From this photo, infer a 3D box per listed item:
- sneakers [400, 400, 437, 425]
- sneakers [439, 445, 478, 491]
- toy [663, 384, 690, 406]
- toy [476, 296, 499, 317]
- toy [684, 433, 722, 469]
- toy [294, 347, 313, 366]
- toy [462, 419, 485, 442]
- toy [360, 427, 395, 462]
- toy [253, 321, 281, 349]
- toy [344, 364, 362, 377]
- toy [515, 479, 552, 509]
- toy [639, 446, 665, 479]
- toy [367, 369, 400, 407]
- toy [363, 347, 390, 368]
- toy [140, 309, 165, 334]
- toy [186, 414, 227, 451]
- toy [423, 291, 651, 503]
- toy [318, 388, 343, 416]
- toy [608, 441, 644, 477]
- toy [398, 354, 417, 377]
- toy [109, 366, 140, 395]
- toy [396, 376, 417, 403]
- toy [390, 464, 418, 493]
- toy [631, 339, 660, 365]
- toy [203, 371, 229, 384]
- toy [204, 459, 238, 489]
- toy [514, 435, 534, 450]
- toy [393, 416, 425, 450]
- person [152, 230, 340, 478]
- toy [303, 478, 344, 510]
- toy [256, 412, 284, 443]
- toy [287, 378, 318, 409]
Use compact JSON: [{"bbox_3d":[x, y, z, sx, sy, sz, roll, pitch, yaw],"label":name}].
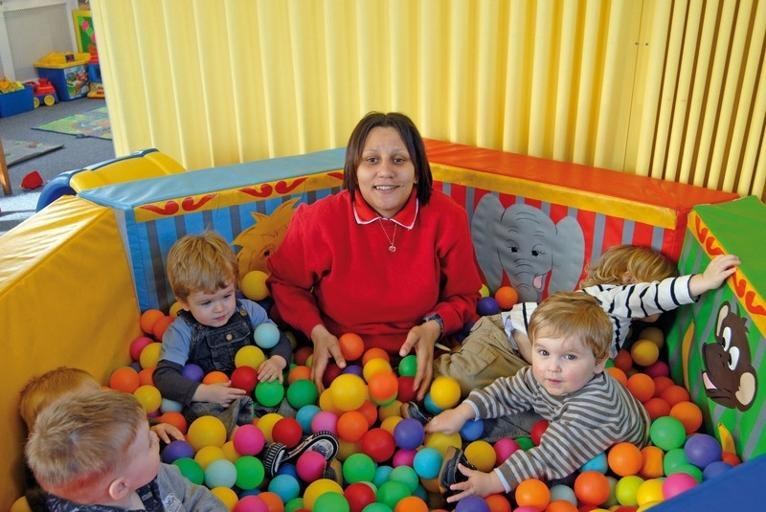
[{"bbox_3d":[0.125,0.573,2.004,0.142,0.057,0.056,32,16,1],"label":"sneakers"},{"bbox_3d":[0.253,0.687,1.755,0.051,0.156,0.099,13,-13,16],"label":"sneakers"},{"bbox_3d":[1.081,0.515,1.974,0.069,0.080,0.067,23,52,-18],"label":"toy"},{"bbox_3d":[0.479,0.238,2.500,0.081,0.084,0.098,8,-6,36],"label":"toy"},{"bbox_3d":[1.020,0.620,1.703,0.098,0.097,0.116,19,-21,14],"label":"toy"},{"bbox_3d":[-0.344,0.448,2.311,0.072,0.085,0.070,8,27,5],"label":"toy"},{"bbox_3d":[0.325,0.624,1.968,0.080,0.079,0.093,-5,10,-10],"label":"toy"},{"bbox_3d":[-0.013,0.670,1.950,0.116,0.136,0.112,-8,48,12],"label":"toy"},{"bbox_3d":[-0.473,0.321,2.219,0.103,0.119,0.099,-16,52,-12],"label":"toy"},{"bbox_3d":[-0.130,0.457,2.127,0.045,0.046,0.054,6,-13,2],"label":"toy"},{"bbox_3d":[0.463,0.730,1.666,0.100,0.087,0.086,21,13,18],"label":"toy"},{"bbox_3d":[0.902,0.695,1.792,0.066,0.075,0.051,-38,43,-12],"label":"toy"},{"bbox_3d":[-0.008,0.487,2.013,0.118,0.137,0.113,6,53,0],"label":"toy"},{"bbox_3d":[-0.028,0.395,2.135,0.078,0.089,0.078,15,-14,3],"label":"toy"},{"bbox_3d":[-0.961,0.273,2.209,0.059,0.070,0.061,37,-2,32],"label":"toy"},{"bbox_3d":[-0.617,0.616,1.856,0.126,0.109,0.108,3,3,8],"label":"toy"},{"bbox_3d":[0.516,0.447,1.800,0.784,0.599,0.343,-11,24,-19],"label":"toy"},{"bbox_3d":[-0.209,0.549,1.999,0.098,0.115,0.097,0,7,6],"label":"toy"},{"bbox_3d":[0.797,0.670,1.813,0.110,0.107,0.128,9,-14,11],"label":"toy"},{"bbox_3d":[0.096,0.439,2.114,0.072,0.068,0.090,-3,22,-2],"label":"toy"},{"bbox_3d":[-0.955,0.457,1.966,0.113,0.115,0.134,3,-9,-43],"label":"toy"},{"bbox_3d":[0.108,0.525,2.101,0.083,0.082,0.100,3,-24,9],"label":"toy"},{"bbox_3d":[0.074,0.741,1.799,0.085,0.085,0.101,-24,0,2],"label":"toy"},{"bbox_3d":[1.051,0.390,2.143,0.100,0.098,0.117,-23,-18,14],"label":"toy"},{"bbox_3d":[-0.638,0.463,2.022,0.066,0.056,0.056,-12,-6,-46],"label":"toy"},{"bbox_3d":[-0.533,0.709,1.785,0.103,0.089,0.089,0,-14,35],"label":"toy"},{"bbox_3d":[0.508,0.663,1.896,0.037,0.043,0.036,-3,-6,-8],"label":"toy"},{"bbox_3d":[0.089,0.623,1.919,0.105,0.100,0.122,22,-21,16],"label":"toy"},{"bbox_3d":[-0.531,0.343,1.976,0.506,0.704,0.868,-13,20,-34],"label":"person"},{"bbox_3d":[-0.191,0.749,1.722,0.113,0.097,0.098,6,3,12],"label":"toy"},{"bbox_3d":[-0.429,0.612,1.907,0.087,0.100,0.088,-8,-16,44],"label":"toy"},{"bbox_3d":[-0.315,0.513,2.102,0.126,0.107,0.108,8,10,36],"label":"toy"}]
